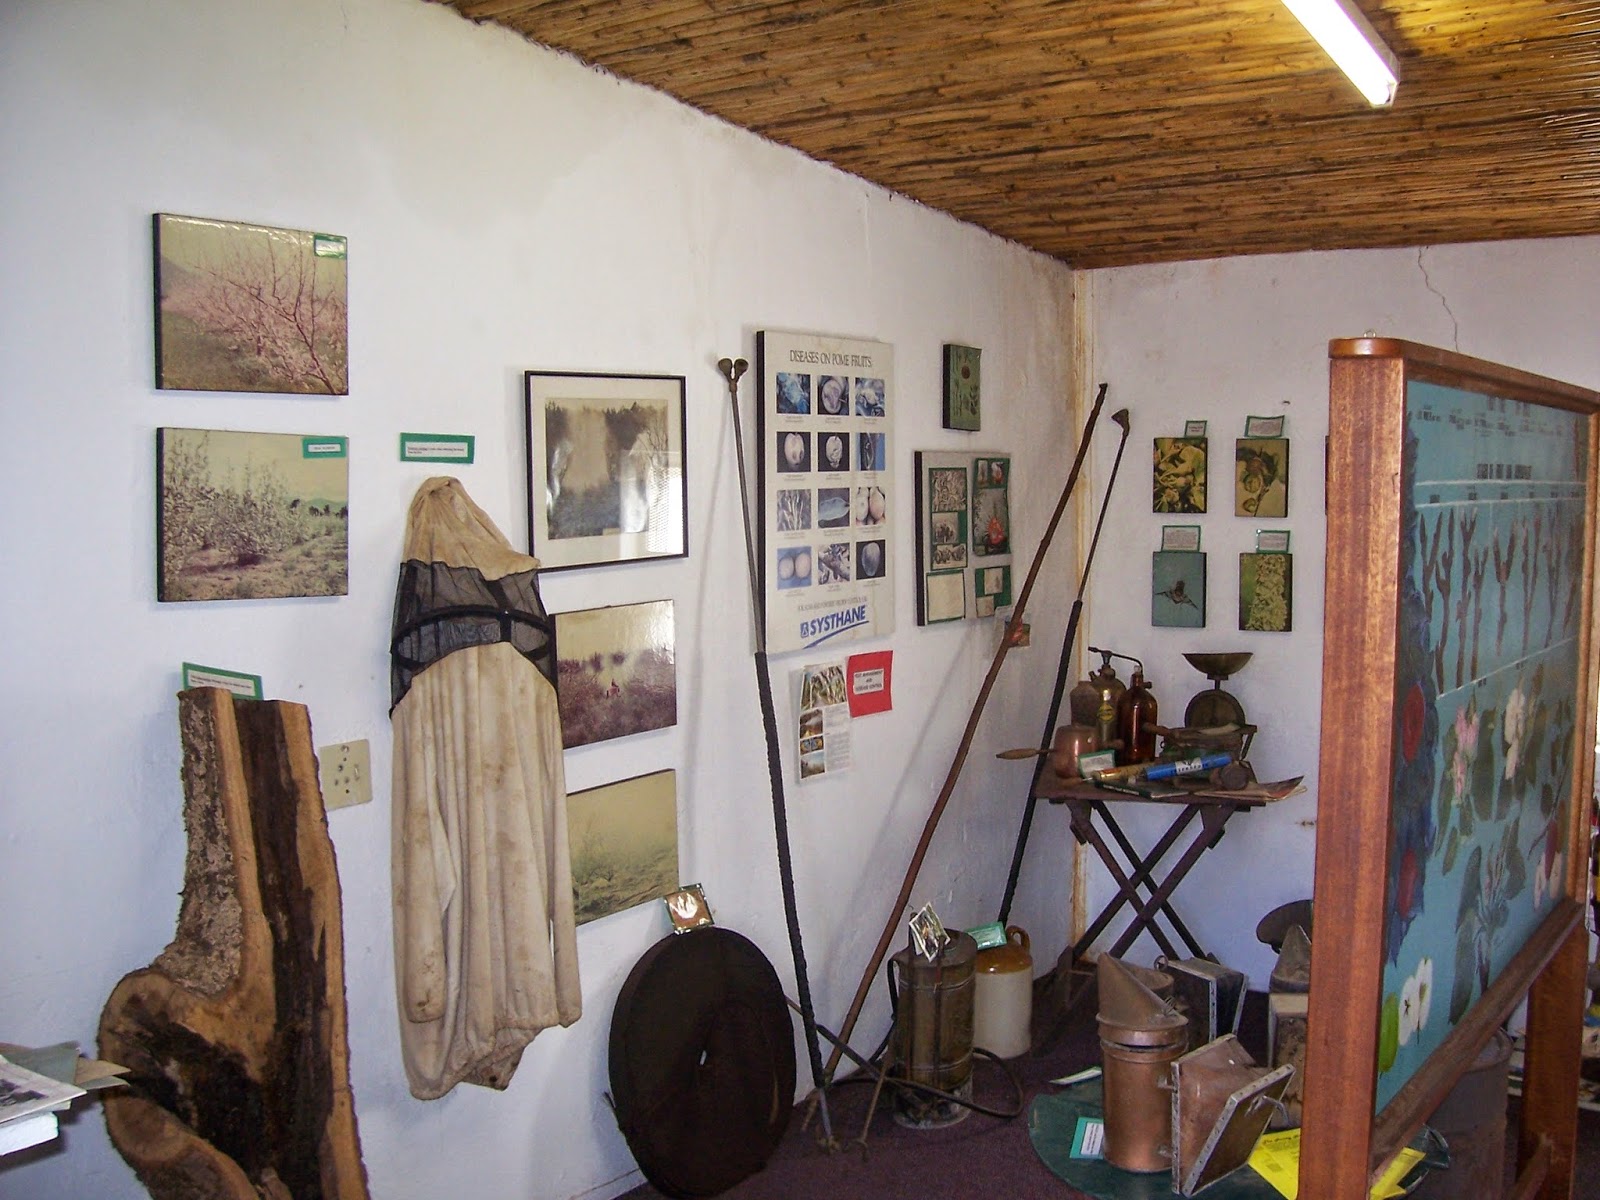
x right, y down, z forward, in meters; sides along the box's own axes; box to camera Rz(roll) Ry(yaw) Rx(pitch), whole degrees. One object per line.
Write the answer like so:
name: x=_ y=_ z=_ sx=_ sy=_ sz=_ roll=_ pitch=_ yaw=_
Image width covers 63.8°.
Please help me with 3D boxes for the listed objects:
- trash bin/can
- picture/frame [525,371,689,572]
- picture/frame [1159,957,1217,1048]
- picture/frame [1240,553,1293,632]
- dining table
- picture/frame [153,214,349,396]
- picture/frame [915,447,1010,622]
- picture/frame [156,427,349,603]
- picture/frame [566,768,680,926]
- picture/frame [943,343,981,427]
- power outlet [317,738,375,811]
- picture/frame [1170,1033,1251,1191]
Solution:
trash bin/can: x=1.045 y=1.439 z=3.979 sx=0.280 sy=0.631 sz=0.267 roll=3 pitch=6 yaw=34
picture/frame: x=-0.550 y=-0.357 z=3.522 sx=0.020 sy=0.556 sz=0.530 roll=2 pitch=3 yaw=41
picture/frame: x=1.286 y=1.339 z=4.268 sx=0.093 sy=0.294 sz=0.248 roll=-14 pitch=11 yaw=-24
picture/frame: x=1.941 y=-0.040 z=5.337 sx=0.049 sy=0.484 sz=0.274 roll=-8 pitch=8 yaw=-43
dining table: x=1.433 y=1.033 z=5.051 sx=0.957 sy=1.047 sz=1.001 roll=-1 pitch=-6 yaw=24
picture/frame: x=-1.222 y=-0.645 z=2.814 sx=0.412 sy=0.377 sz=0.041 roll=0 pitch=-1 yaw=-44
picture/frame: x=0.601 y=-0.261 z=4.909 sx=0.057 sy=0.603 sz=0.578 roll=6 pitch=10 yaw=37
picture/frame: x=-1.228 y=-0.189 z=2.834 sx=0.034 sy=0.370 sz=0.354 roll=7 pitch=8 yaw=42
picture/frame: x=-0.515 y=0.683 z=3.620 sx=0.014 sy=0.336 sz=0.435 roll=-1 pitch=2 yaw=35
picture/frame: x=0.600 y=-0.812 z=4.865 sx=0.053 sy=0.401 sz=0.318 roll=-1 pitch=-2 yaw=31
power outlet: x=-1.068 y=0.401 z=3.000 sx=0.018 sy=0.192 sz=0.162 roll=2 pitch=2 yaw=37
picture/frame: x=1.206 y=1.513 z=3.793 sx=0.150 sy=0.324 sz=0.313 roll=15 pitch=-15 yaw=33
